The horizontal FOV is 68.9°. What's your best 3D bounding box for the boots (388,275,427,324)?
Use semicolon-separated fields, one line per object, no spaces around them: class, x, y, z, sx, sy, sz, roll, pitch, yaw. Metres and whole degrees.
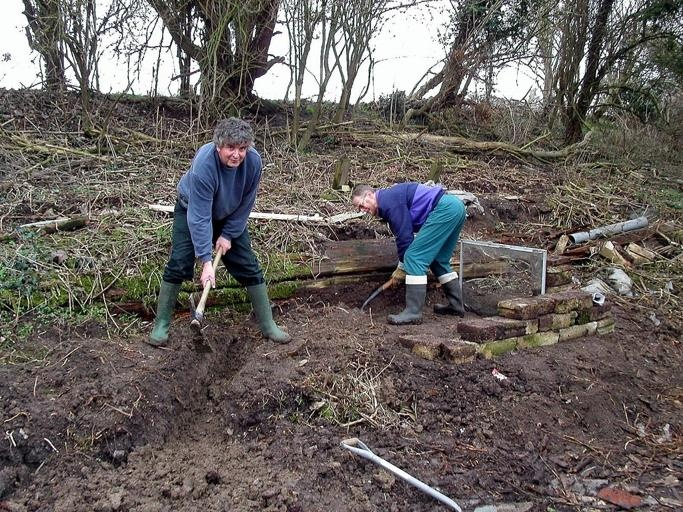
boots;0.737;0.496;5.679;0.396;0.542;0.295;5;16;6

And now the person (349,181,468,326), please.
person;0.897;-0.040;5.918;1.292;1.567;0.820;-2;16;-20
